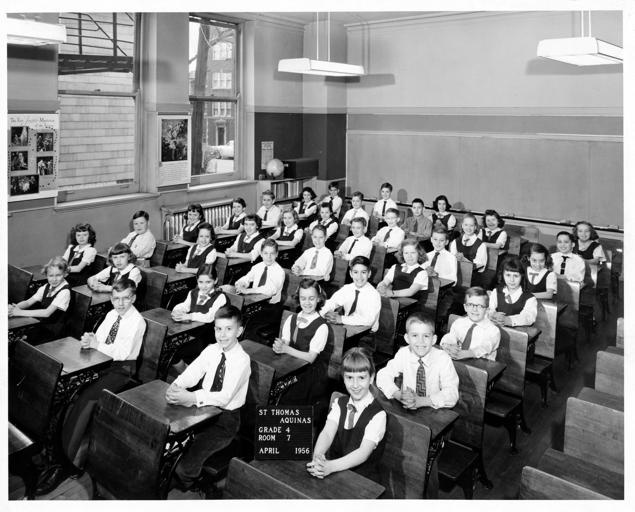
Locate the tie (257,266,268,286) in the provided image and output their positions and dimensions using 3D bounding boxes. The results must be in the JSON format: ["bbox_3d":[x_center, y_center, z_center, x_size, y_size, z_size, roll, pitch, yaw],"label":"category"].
[{"bbox_3d":[-0.690,0.262,5.589,0.071,0.280,0.059,5,-12,9],"label":"tie"}]

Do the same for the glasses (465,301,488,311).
[{"bbox_3d":[1.437,0.434,3.914,0.221,0.064,0.110,-1,11,-7],"label":"glasses"}]

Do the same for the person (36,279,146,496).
[{"bbox_3d":[-1.783,0.931,3.616,0.580,1.263,1.226,0,10,-2],"label":"person"}]

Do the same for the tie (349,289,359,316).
[{"bbox_3d":[0.399,0.504,4.737,0.046,0.222,0.209,8,22,7],"label":"tie"}]

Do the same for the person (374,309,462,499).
[{"bbox_3d":[0.657,0.926,3.009,0.589,0.942,0.818,4,11,20],"label":"person"}]

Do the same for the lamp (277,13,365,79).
[{"bbox_3d":[0.169,-4.291,8.316,1.392,1.779,0.520,-12,6,-41],"label":"lamp"}]

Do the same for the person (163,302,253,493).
[{"bbox_3d":[-0.773,1.061,3.137,0.561,1.272,0.876,0,10,-4],"label":"person"}]

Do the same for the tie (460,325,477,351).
[{"bbox_3d":[1.338,0.723,3.900,0.017,0.359,0.088,36,-22,-31],"label":"tie"}]

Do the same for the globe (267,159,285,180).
[{"bbox_3d":[-1.085,-2.246,11.411,0.422,0.586,0.456,-2,2,-13],"label":"globe"}]
